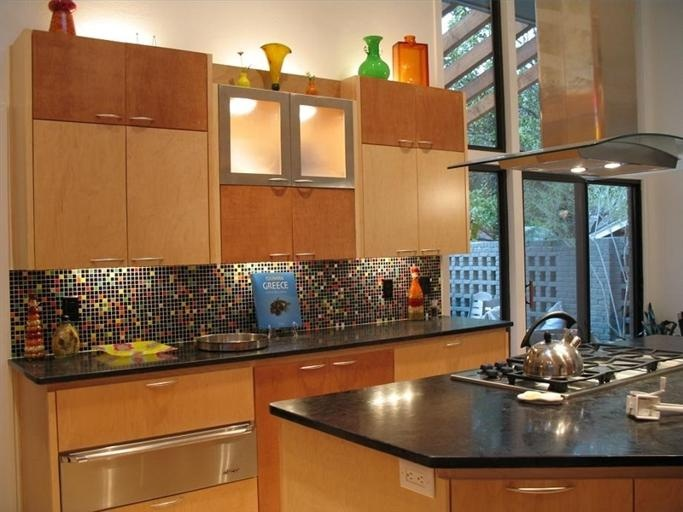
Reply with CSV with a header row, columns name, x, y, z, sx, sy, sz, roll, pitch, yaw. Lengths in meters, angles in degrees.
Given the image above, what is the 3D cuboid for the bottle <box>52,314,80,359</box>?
name,x,y,z,sx,sy,sz,roll,pitch,yaw
bottle,-1.581,0.454,3.622,0.144,0.226,0.087,-4,6,-28

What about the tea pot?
name,x,y,z,sx,sy,sz,roll,pitch,yaw
tea pot,1.012,0.394,3.006,0.311,0.312,0.289,-4,-1,0

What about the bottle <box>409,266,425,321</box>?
name,x,y,z,sx,sy,sz,roll,pitch,yaw
bottle,0.585,0.284,4.943,0.117,0.410,0.185,0,6,4

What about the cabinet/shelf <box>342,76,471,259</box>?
name,x,y,z,sx,sy,sz,roll,pitch,yaw
cabinet/shelf,0.436,-0.631,4.547,1.239,1.500,0.445,6,-9,-40

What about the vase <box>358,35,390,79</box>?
name,x,y,z,sx,sy,sz,roll,pitch,yaw
vase,0.228,-1.432,4.558,0.230,0.348,0.313,-2,5,-12
